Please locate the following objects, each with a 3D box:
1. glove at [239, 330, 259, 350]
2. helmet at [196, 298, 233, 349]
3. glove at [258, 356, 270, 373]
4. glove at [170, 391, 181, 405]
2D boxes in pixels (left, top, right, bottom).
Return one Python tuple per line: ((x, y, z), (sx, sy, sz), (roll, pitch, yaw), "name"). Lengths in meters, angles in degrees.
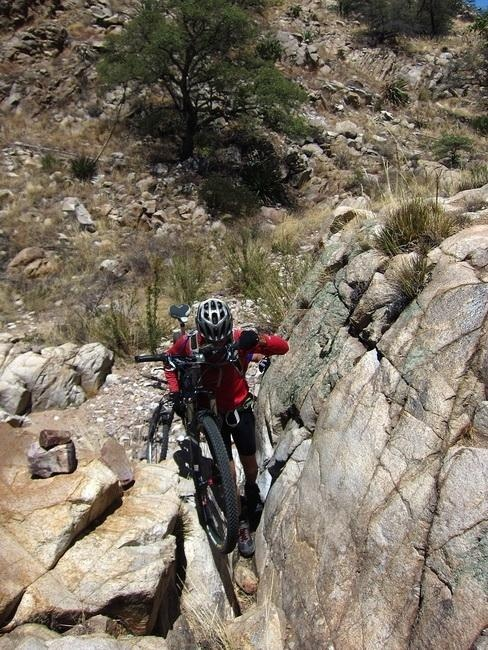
((0.036, 0.109, 3.154), (0.101, 0.142, 0.131), (4, 54, -3), "glove")
((-0.196, -0.075, 3.037), (0.259, 0.208, 0.382), (-9, 19, -3), "helmet")
((0.205, 0.414, 4.711), (0.099, 0.183, 0.063), (19, 5, 21), "glove")
((-0.507, 0.561, 3.454), (0.070, 0.105, 0.031), (14, 45, 24), "glove")
